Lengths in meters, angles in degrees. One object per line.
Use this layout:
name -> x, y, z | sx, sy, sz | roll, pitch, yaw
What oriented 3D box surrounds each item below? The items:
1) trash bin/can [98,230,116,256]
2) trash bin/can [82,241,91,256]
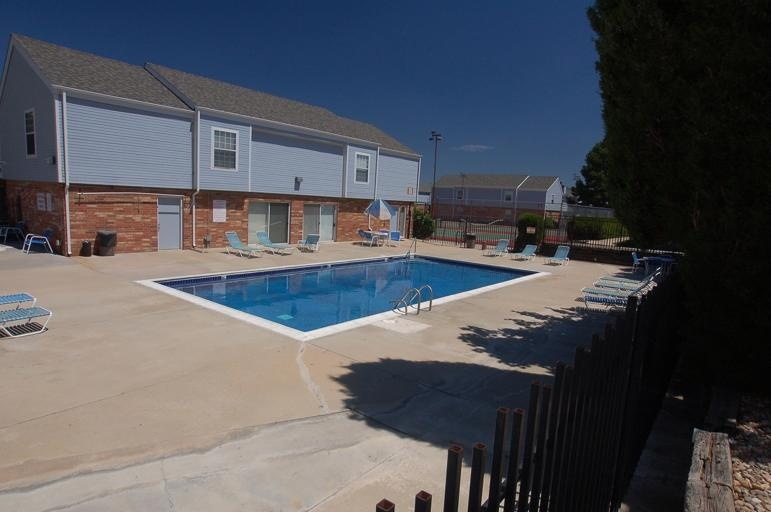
trash bin/can -> -11.253, -0.564, 19.430 | 0.592, 1.015, 0.636 | -4, 7, -39
trash bin/can -> -11.873, -0.332, 19.019 | 0.337, 0.654, 0.262 | -2, 6, -21
